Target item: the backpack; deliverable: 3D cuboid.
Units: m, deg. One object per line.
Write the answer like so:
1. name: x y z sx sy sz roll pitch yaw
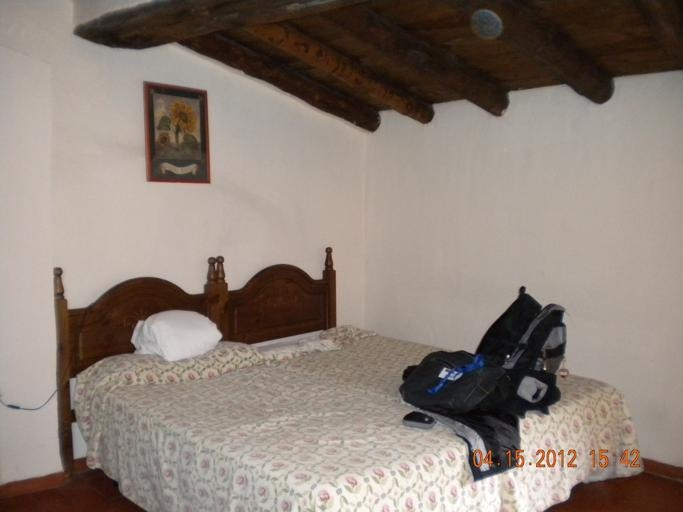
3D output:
1. backpack: 1.096 0.476 3.595 0.441 0.419 0.402 -3 9 -17

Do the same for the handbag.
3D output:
1. handbag: 0.703 0.756 3.501 0.604 0.249 0.508 5 10 30
